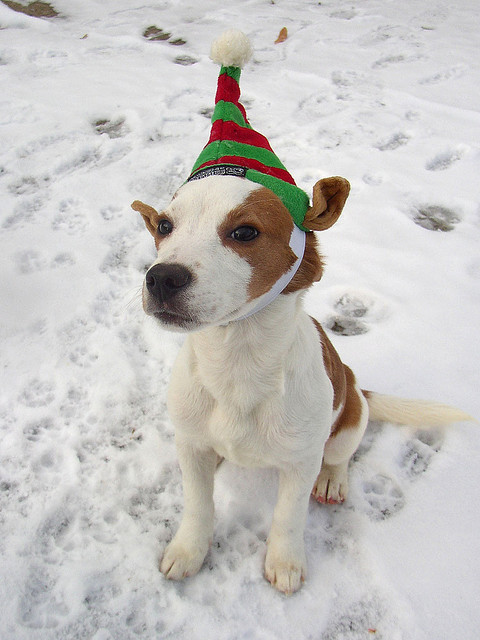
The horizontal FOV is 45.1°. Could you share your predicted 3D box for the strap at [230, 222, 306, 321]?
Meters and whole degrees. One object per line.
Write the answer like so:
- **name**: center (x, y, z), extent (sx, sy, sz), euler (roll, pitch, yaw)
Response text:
- **strap**: center (0.147, -0.169, 2.109), extent (0.257, 0.088, 0.339), euler (12, 74, 48)
